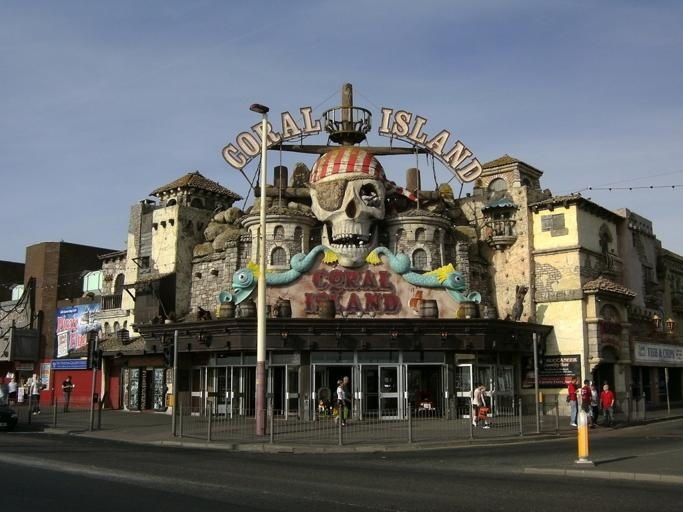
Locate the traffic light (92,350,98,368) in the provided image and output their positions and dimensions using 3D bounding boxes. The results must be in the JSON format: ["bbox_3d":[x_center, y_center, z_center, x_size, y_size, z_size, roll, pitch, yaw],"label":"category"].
[{"bbox_3d":[-11.018,4.655,34.057,0.344,0.786,0.291,5,-14,-23],"label":"traffic light"}]

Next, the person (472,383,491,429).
[{"bbox_3d":[6.291,6.802,34.108,0.714,1.845,1.435,-3,-13,10],"label":"person"}]

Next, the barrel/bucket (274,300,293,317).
[{"bbox_3d":[-3.060,2.855,40.715,0.794,0.807,0.813,-1,-10,0],"label":"barrel/bucket"}]

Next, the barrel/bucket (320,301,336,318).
[{"bbox_3d":[-0.745,2.886,40.623,0.800,0.789,0.817,-1,-4,0],"label":"barrel/bucket"}]

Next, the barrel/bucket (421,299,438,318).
[{"bbox_3d":[4.758,2.893,40.933,0.858,0.871,0.879,0,-10,0],"label":"barrel/bucket"}]

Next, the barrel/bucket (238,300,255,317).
[{"bbox_3d":[-4.933,2.875,40.121,0.776,0.794,0.771,-1,-21,0],"label":"barrel/bucket"}]

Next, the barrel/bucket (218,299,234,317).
[{"bbox_3d":[-6.175,2.910,40.759,0.727,0.726,0.747,0,-7,0],"label":"barrel/bucket"}]

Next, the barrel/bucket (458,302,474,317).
[{"bbox_3d":[6.829,2.918,40.994,0.755,0.741,0.770,0,-10,0],"label":"barrel/bucket"}]
